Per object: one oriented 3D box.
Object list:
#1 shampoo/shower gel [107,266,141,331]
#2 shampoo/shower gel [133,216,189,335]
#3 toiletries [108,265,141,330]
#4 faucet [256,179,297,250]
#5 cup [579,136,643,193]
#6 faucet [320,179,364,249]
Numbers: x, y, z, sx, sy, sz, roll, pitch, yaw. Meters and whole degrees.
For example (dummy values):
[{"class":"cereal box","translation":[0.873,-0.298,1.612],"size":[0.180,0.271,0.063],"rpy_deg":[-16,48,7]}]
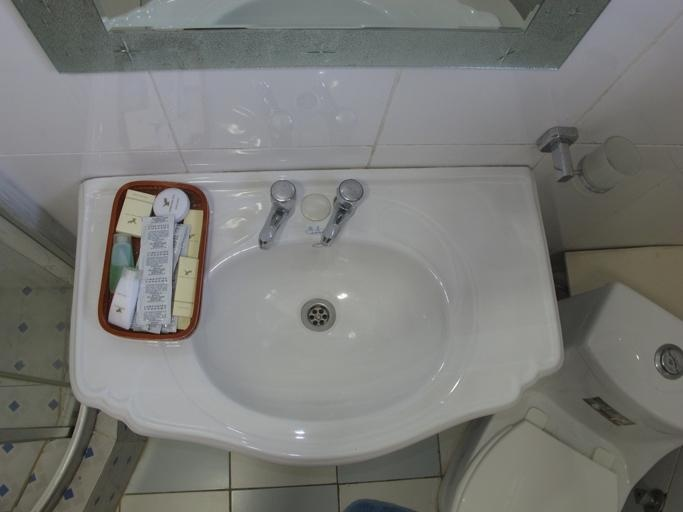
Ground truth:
[{"class":"shampoo/shower gel","translation":[-0.428,0.084,1.015],"size":[0.056,0.027,0.118],"rpy_deg":[7,82,2]},{"class":"shampoo/shower gel","translation":[-0.371,0.034,1.040],"size":[0.084,0.059,0.231],"rpy_deg":[3,68,-7]},{"class":"toiletries","translation":[-0.425,0.083,1.016],"size":[0.056,0.027,0.118],"rpy_deg":[7,82,2]},{"class":"faucet","translation":[-0.133,-0.093,1.074],"size":[0.067,0.068,0.159],"rpy_deg":[21,88,-6]},{"class":"cup","translation":[0.551,-0.188,1.091],"size":[0.115,0.112,0.075],"rpy_deg":[-24,89,19]},{"class":"faucet","translation":[0.006,-0.070,1.115],"size":[0.045,0.118,0.116],"rpy_deg":[5,104,30]}]
